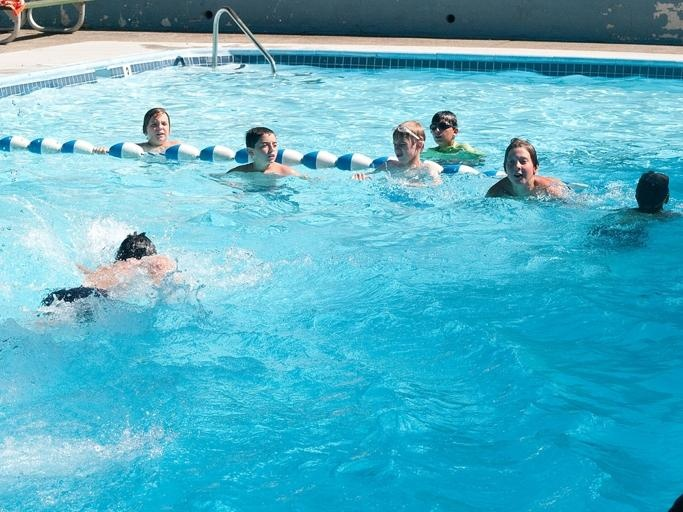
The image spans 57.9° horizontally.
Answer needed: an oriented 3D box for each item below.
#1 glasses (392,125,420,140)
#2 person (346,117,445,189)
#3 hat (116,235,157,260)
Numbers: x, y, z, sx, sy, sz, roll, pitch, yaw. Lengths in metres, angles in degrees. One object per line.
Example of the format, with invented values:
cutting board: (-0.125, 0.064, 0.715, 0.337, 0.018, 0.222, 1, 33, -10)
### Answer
glasses: (0.514, -0.976, 4.884, 0.165, 0.033, 0.137, 14, -2, -27)
person: (0.498, -0.817, 5.007, 0.556, 0.454, 0.836, -10, 19, -28)
hat: (-1.108, -0.045, 3.364, 0.220, 0.083, 0.182, -3, 1, -25)
